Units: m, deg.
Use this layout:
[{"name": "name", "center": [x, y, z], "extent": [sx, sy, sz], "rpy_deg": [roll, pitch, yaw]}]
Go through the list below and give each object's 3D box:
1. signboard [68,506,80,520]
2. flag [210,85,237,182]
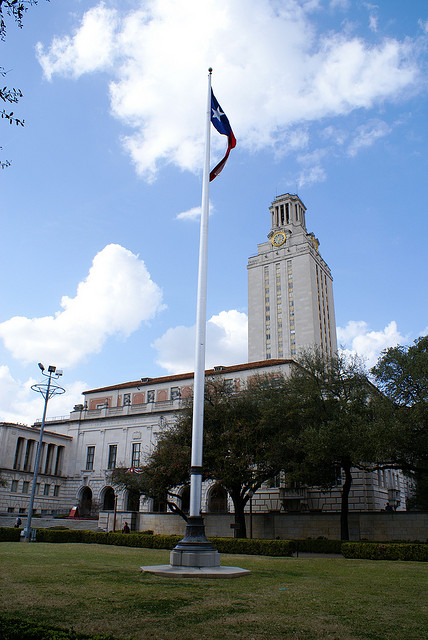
[{"name": "signboard", "center": [-13.168, 18.287, 49.242], "extent": [1.161, 1.323, 0.967], "rpy_deg": [-2, -39, 3]}, {"name": "flag", "center": [0.327, -6.455, 18.676], "extent": [0.902, 3.452, 1.522], "rpy_deg": [1, -19, -1]}]
